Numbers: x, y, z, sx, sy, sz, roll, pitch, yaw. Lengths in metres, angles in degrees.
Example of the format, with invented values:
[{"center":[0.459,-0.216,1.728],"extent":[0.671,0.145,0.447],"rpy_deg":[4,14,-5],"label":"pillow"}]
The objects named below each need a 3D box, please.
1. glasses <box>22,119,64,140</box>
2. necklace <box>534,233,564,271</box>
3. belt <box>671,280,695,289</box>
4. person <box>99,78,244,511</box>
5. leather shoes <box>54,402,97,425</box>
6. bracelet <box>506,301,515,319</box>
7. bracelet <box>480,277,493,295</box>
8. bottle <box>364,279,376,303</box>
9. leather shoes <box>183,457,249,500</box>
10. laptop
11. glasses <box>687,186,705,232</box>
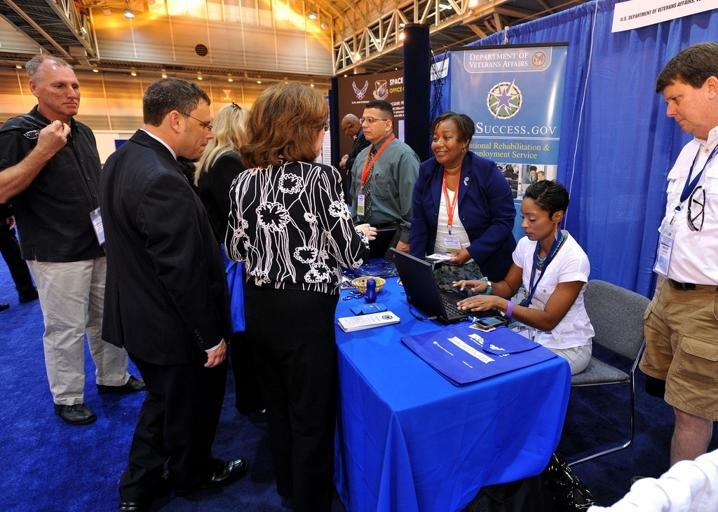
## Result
[{"center":[-2.009,-0.788,2.963],"extent":[0.152,0.085,0.212],"rpy_deg":[-1,24,-1],"label":"glasses"},{"center":[1.101,-0.023,2.730],"extent":[0.053,0.212,0.147],"rpy_deg":[18,1,-23],"label":"necklace"},{"center":[1.652,0.139,2.392],"extent":[0.059,0.034,0.045],"rpy_deg":[16,-9,43],"label":"belt"},{"center":[-1.013,0.255,2.403],"extent":[0.664,2.218,0.426],"rpy_deg":[-6,17,-14],"label":"person"},{"center":[-1.892,1.064,3.125],"extent":[0.292,0.132,0.119],"rpy_deg":[4,5,20],"label":"leather shoes"},{"center":[0.830,0.298,2.594],"extent":[0.027,0.078,0.057],"rpy_deg":[8,29,-3],"label":"bracelet"},{"center":[0.776,0.191,2.868],"extent":[0.066,0.096,0.103],"rpy_deg":[5,24,3],"label":"bracelet"},{"center":[0.063,0.208,2.703],"extent":[0.100,0.161,0.103],"rpy_deg":[1,3,0],"label":"bottle"},{"center":[-0.831,1.246,2.728],"extent":[0.380,0.168,0.148],"rpy_deg":[-13,19,-33],"label":"leather shoes"},{"center":[0.475,0.154,2.669],"extent":[0.450,0.327,0.411],"rpy_deg":[-10,21,-25],"label":"laptop"},{"center":[1.676,-0.233,2.324],"extent":[0.044,0.181,0.097],"rpy_deg":[6,10,9],"label":"glasses"}]
